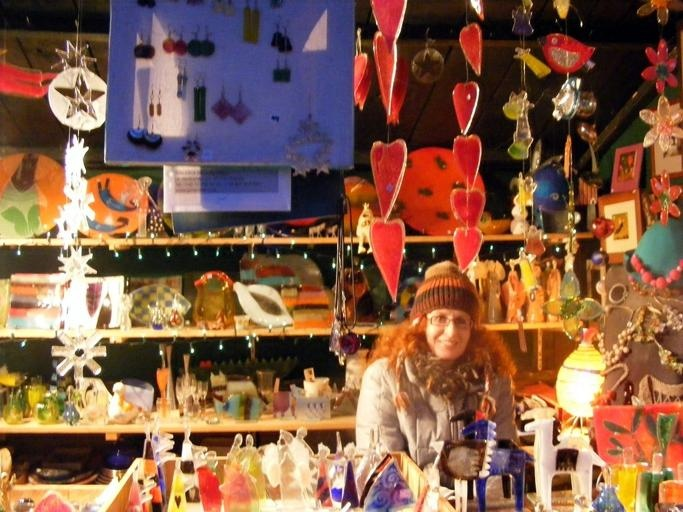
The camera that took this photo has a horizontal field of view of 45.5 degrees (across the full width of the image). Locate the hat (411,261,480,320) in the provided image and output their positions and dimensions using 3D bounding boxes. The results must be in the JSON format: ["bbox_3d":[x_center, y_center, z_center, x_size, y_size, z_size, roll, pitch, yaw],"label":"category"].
[{"bbox_3d":[0.534,0.187,4.131,0.249,0.266,0.288,7,-21,-14],"label":"hat"}]

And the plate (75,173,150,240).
[{"bbox_3d":[-1.307,-0.288,4.760,0.367,0.380,0.213,3,2,-8],"label":"plate"}]

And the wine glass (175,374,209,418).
[{"bbox_3d":[-0.864,0.793,4.680,0.176,0.261,0.193,0,0,-21],"label":"wine glass"}]

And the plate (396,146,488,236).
[{"bbox_3d":[0.527,-0.377,4.824,0.378,0.520,0.145,3,2,9],"label":"plate"}]

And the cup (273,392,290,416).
[{"bbox_3d":[-0.344,0.840,4.643,0.098,0.142,0.111,1,0,-19],"label":"cup"}]

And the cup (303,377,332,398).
[{"bbox_3d":[-0.146,0.763,4.688,0.082,0.112,0.130,-7,-11,35],"label":"cup"}]

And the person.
[{"bbox_3d":[0.427,0.646,4.402,0.860,1.721,0.801,1,-8,-7],"label":"person"}]
